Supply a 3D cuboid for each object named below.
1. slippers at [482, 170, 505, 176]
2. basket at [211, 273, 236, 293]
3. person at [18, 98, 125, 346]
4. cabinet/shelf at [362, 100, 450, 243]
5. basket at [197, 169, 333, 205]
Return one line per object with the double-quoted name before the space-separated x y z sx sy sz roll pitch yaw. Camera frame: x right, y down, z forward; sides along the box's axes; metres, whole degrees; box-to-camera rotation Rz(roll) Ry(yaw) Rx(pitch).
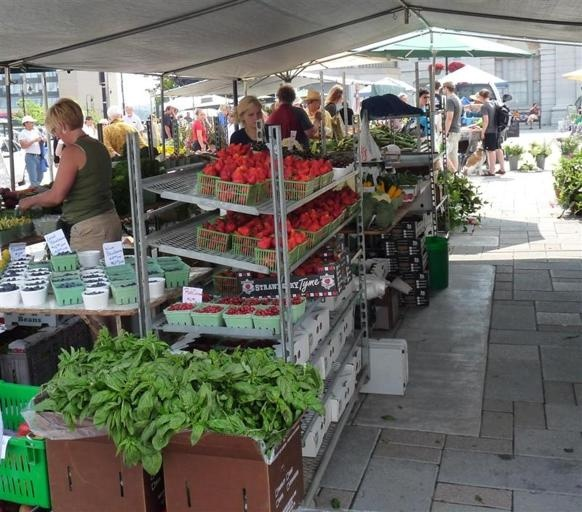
"slippers" 6.235 -2.567 15.453 0.761 0.234 0.232 -8 15 -22
"basket" -0.428 0.167 3.229 0.149 0.072 0.137 4 8 21
"person" -1.904 -0.284 4.452 0.869 2.044 0.792 9 20 13
"cabinet/shelf" 1.589 -1.269 7.886 1.347 2.266 1.396 9 17 21
"basket" -0.107 -0.393 2.948 0.797 0.215 0.575 3 9 13
